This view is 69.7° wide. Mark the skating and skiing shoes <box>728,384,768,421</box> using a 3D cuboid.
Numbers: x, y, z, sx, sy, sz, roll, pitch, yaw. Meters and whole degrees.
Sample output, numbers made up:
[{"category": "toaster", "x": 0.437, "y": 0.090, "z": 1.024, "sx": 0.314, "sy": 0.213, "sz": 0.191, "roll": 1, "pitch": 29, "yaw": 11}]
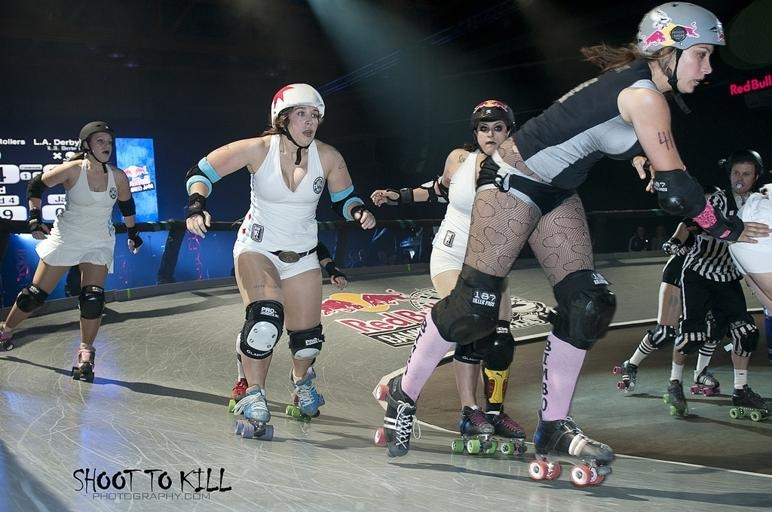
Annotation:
[{"category": "skating and skiing shoes", "x": 3.105, "y": 1.248, "z": 4.774, "sx": 0.212, "sy": 0.226, "sz": 0.342, "roll": 0, "pitch": -2, "yaw": -31}]

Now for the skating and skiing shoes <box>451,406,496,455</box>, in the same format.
[{"category": "skating and skiing shoes", "x": 0.639, "y": 1.212, "z": 3.905, "sx": 0.248, "sy": 0.294, "sz": 0.489, "roll": 5, "pitch": -18, "yaw": -14}]

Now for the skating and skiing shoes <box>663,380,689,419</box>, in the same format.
[{"category": "skating and skiing shoes", "x": 2.524, "y": 1.229, "z": 4.809, "sx": 0.144, "sy": 0.212, "sz": 0.364, "roll": -2, "pitch": 12, "yaw": 2}]

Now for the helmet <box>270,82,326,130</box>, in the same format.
[{"category": "helmet", "x": -0.700, "y": -1.172, "z": 4.362, "sx": 0.449, "sy": 0.366, "sz": 0.354, "roll": -1, "pitch": 1, "yaw": 42}]

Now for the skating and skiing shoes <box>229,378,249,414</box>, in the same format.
[{"category": "skating and skiing shoes", "x": -1.135, "y": 1.078, "z": 4.295, "sx": 0.125, "sy": 0.293, "sz": 0.099, "roll": -35, "pitch": -53, "yaw": 22}]

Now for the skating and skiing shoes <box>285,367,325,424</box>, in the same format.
[{"category": "skating and skiing shoes", "x": -0.646, "y": 1.081, "z": 4.377, "sx": 0.187, "sy": 0.246, "sz": 0.550, "roll": -3, "pitch": 7, "yaw": -16}]

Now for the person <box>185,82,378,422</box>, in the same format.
[{"category": "person", "x": -0.792, "y": -0.036, "z": 4.166, "sx": 1.353, "sy": 2.565, "sz": 0.688, "roll": 3, "pitch": 4, "yaw": -21}]

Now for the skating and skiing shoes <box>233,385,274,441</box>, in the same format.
[{"category": "skating and skiing shoes", "x": -0.918, "y": 1.071, "z": 3.863, "sx": 0.266, "sy": 0.284, "sz": 0.428, "roll": 1, "pitch": 5, "yaw": -12}]

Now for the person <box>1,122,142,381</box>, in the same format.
[{"category": "person", "x": -2.977, "y": -0.154, "z": 5.500, "sx": 1.528, "sy": 2.357, "sz": 1.105, "roll": 8, "pitch": 5, "yaw": 43}]

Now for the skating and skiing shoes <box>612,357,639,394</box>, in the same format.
[{"category": "skating and skiing shoes", "x": 2.290, "y": 1.141, "z": 5.431, "sx": 0.228, "sy": 0.157, "sz": 0.474, "roll": -25, "pitch": 0, "yaw": -1}]

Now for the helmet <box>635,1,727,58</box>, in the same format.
[{"category": "helmet", "x": 1.653, "y": -1.251, "z": 3.138, "sx": 0.395, "sy": 0.227, "sz": 0.297, "roll": 20, "pitch": 26, "yaw": 14}]

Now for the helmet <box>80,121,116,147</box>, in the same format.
[{"category": "helmet", "x": -2.914, "y": -1.237, "z": 5.569, "sx": 0.305, "sy": 0.240, "sz": 0.296, "roll": 4, "pitch": 4, "yaw": -9}]

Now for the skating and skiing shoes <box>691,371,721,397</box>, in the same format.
[{"category": "skating and skiing shoes", "x": 3.058, "y": 1.194, "z": 5.312, "sx": 0.214, "sy": 0.261, "sz": 0.262, "roll": 5, "pitch": -4, "yaw": -34}]
